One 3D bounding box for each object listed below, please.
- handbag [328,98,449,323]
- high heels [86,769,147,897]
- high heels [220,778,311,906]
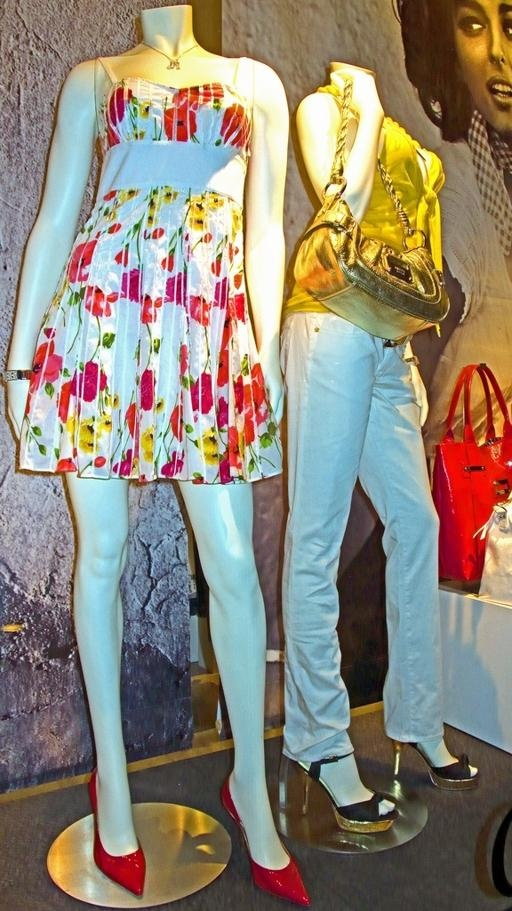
[{"bbox_3d":[0.217,-0.452,1.218,0.223,0.107,0.585,18,60,-24],"label":"handbag"},{"bbox_3d":[-0.217,0.602,1.140,0.057,0.085,0.191,7,28,-34],"label":"high heels"},{"bbox_3d":[0.022,0.617,1.058,0.072,0.061,0.242,-20,94,-35],"label":"high heels"}]
